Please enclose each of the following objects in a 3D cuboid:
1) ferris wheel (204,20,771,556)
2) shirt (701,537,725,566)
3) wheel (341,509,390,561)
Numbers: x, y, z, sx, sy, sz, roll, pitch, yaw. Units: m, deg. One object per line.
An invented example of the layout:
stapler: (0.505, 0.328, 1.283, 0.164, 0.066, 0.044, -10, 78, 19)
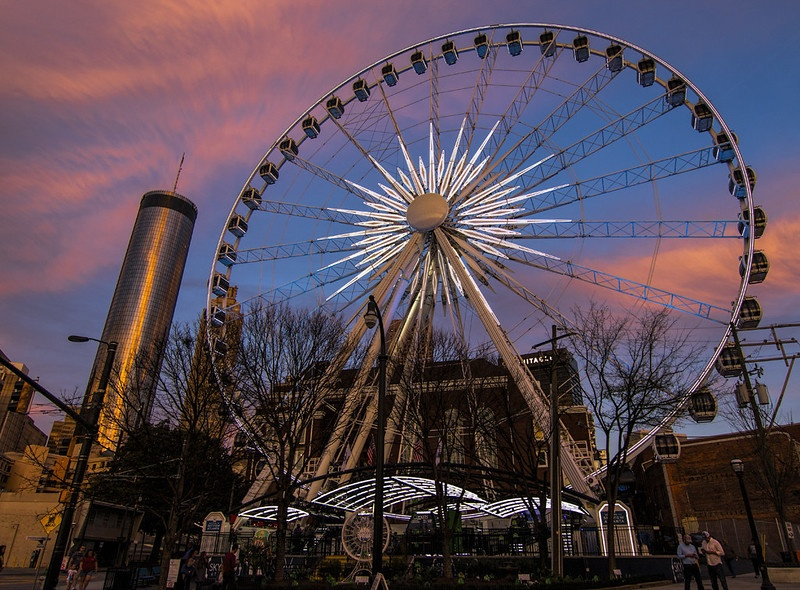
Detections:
ferris wheel: (2.364, -3.327, 33.678, 28.549, 33.366, 8.835, -11, -33, 8)
shirt: (11.686, 9.656, 20.829, 0.633, 0.895, 1.120, -15, -33, 24)
wheel: (-1.972, 11.644, 26.839, 0.937, 2.224, 2.158, 19, -35, -31)
